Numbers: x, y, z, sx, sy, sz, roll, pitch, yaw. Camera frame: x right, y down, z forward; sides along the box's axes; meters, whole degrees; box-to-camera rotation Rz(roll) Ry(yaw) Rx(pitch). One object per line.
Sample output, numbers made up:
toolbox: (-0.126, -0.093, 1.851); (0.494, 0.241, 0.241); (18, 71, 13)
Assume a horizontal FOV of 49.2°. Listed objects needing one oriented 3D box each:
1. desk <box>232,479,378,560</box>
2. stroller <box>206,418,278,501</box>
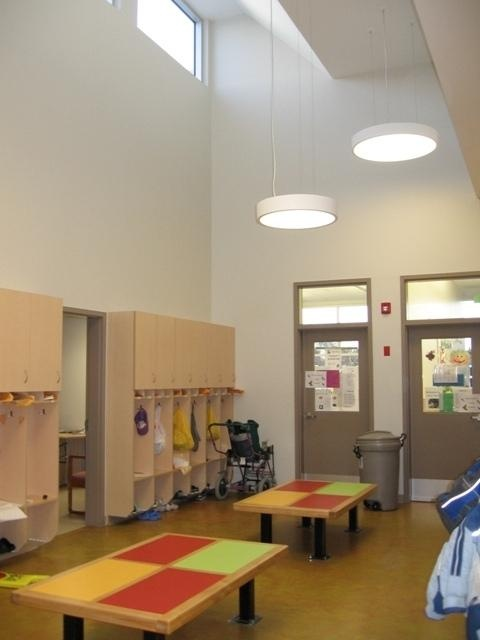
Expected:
desk: (0.635, 1.850, 4.864); (0.989, 0.456, 1.559); (-4, -11, 23)
stroller: (-0.051, 1.896, 7.463); (0.764, 1.203, 1.239); (0, 2, 26)
